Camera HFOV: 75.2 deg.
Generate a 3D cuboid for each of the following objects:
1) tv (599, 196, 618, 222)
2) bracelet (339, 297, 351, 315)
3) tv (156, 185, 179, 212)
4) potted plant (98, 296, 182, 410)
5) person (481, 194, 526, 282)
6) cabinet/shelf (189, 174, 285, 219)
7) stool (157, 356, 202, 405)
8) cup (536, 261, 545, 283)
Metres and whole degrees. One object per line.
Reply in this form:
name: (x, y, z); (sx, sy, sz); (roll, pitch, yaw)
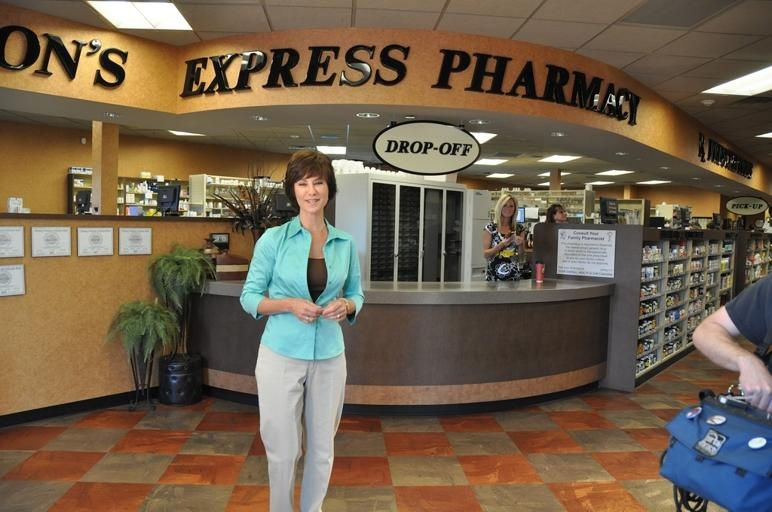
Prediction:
tv: (2.785, -0.554, 6.204); (0.242, 0.295, 0.358); (5, 13, 16)
bracelet: (-0.247, 0.318, 3.122); (0.099, 0.063, 0.095); (0, 15, 4)
tv: (-2.593, -0.663, 5.960); (0.239, 0.349, 0.383); (-4, 14, -23)
potted plant: (-2.538, 0.993, 5.088); (0.535, 0.696, 0.508); (-17, -1, 34)
person: (1.436, -0.213, 6.058); (0.465, 1.054, 0.692); (5, 13, 14)
cabinet/shelf: (-3.645, -1.568, 12.228); (2.231, 0.847, 0.490); (-2, 22, -18)
stool: (-2.084, 1.256, 5.216); (0.500, 0.471, 0.477); (0, -2, -5)
cup: (1.713, 0.186, 5.558); (0.078, 0.212, 0.165); (4, 13, 11)
